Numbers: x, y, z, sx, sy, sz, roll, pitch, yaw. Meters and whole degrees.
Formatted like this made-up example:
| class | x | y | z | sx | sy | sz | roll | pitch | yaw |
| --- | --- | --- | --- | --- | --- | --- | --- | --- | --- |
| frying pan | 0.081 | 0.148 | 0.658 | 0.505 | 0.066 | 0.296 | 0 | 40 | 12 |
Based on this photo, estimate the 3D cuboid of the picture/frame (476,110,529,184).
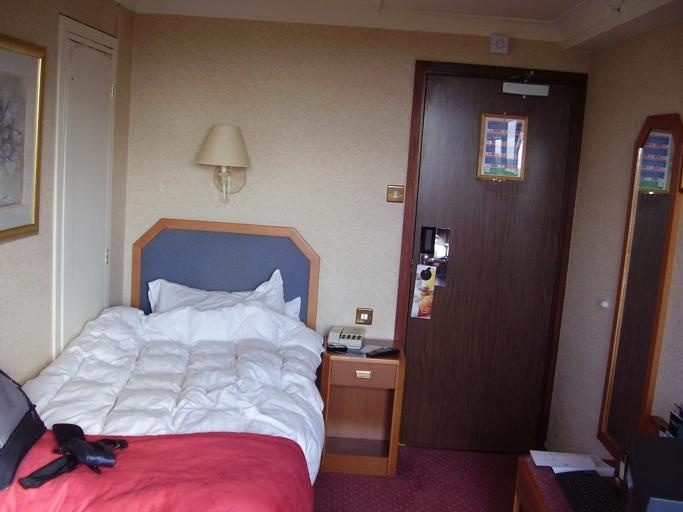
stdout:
| class | x | y | z | sx | sy | sz | roll | pitch | yaw |
| --- | --- | --- | --- | --- | --- | --- | --- | --- | --- |
| picture/frame | 1.123 | -0.785 | 3.806 | 0.421 | 0.595 | 0.061 | 2 | 6 | -4 |

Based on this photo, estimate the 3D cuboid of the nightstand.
| class | x | y | z | sx | sy | sz | roll | pitch | yaw |
| --- | --- | --- | --- | --- | --- | --- | --- | --- | --- |
| nightstand | 0.119 | 1.052 | 3.800 | 0.493 | 0.782 | 0.512 | 5 | -1 | -3 |

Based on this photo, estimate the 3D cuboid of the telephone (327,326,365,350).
| class | x | y | z | sx | sy | sz | roll | pitch | yaw |
| --- | --- | --- | --- | --- | --- | --- | --- | --- | --- |
| telephone | 0.019 | 0.559 | 3.714 | 0.156 | 0.061 | 0.172 | 0 | 13 | 7 |

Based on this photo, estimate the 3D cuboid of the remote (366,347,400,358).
| class | x | y | z | sx | sy | sz | roll | pitch | yaw |
| --- | --- | --- | --- | --- | --- | --- | --- | --- | --- |
| remote | 0.274 | 0.639 | 3.647 | 0.257 | 0.029 | 0.111 | -1 | 14 | -20 |

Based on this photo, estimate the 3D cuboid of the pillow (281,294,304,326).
| class | x | y | z | sx | sy | sz | roll | pitch | yaw |
| --- | --- | --- | --- | --- | --- | --- | --- | --- | --- |
| pillow | -0.323 | 0.347 | 3.785 | 0.132 | 0.150 | 0.043 | 3 | -8 | -29 |

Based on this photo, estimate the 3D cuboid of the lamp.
| class | x | y | z | sx | sy | sz | roll | pitch | yaw |
| --- | --- | --- | --- | --- | --- | --- | --- | --- | --- |
| lamp | -0.819 | -0.626 | 3.724 | 0.372 | 0.524 | 0.290 | 1 | 13 | -9 |
